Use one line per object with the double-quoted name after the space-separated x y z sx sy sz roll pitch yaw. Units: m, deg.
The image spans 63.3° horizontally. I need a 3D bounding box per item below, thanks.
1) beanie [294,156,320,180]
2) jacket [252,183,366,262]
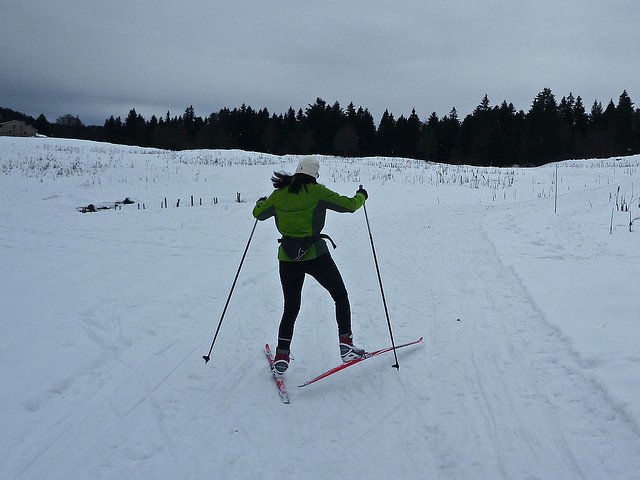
-0.156 -1.005 7.147 0.212 0.281 0.312 25 2 34 "beanie"
-0.243 -0.270 7.261 1.525 1.230 0.689 1 12 16 "jacket"
